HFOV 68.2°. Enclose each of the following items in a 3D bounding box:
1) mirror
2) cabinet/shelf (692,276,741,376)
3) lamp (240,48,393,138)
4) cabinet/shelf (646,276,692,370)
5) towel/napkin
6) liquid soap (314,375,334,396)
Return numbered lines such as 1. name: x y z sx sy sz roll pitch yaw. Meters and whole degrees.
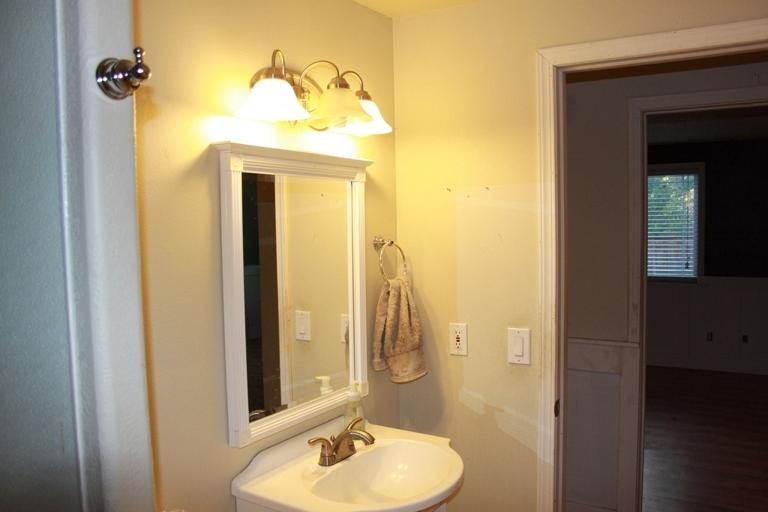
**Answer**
1. mirror: -0.295 0.110 2.033 0.086 0.961 0.671 4 6 38
2. cabinet/shelf: 3.432 0.705 5.865 0.425 0.974 0.180 3 5 28
3. lamp: -0.192 -0.574 1.980 0.523 0.254 0.262 3 4 -21
4. cabinet/shelf: 3.036 0.721 6.038 0.434 0.976 0.229 2 5 28
5. towel/napkin: 0.066 0.306 2.366 0.229 0.422 0.129 -1 5 -16
6. liquid soap: -0.220 0.483 2.130 0.055 0.099 0.069 0 1 32
